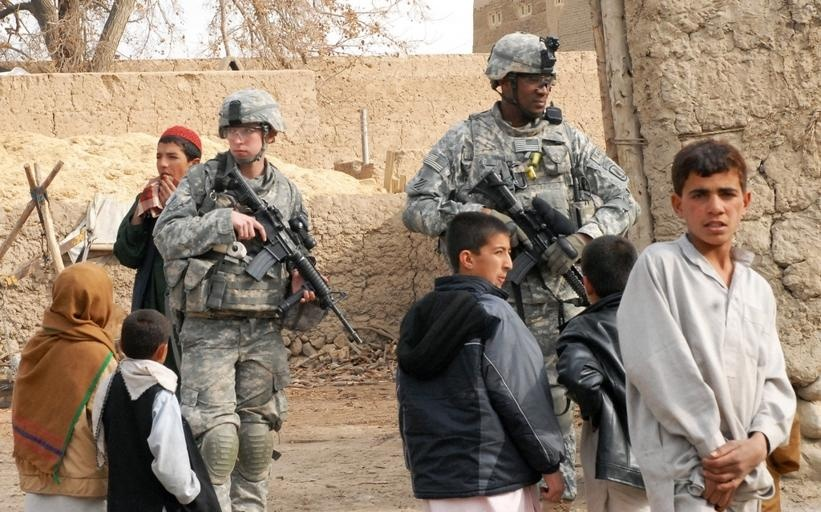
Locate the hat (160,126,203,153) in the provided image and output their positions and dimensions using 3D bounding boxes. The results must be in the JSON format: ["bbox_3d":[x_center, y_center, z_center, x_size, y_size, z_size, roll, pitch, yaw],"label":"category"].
[{"bbox_3d":[-1.860,-0.989,8.257,0.282,0.144,0.296,7,-2,44],"label":"hat"}]

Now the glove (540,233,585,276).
[{"bbox_3d":[1.126,-0.025,7.548,0.208,0.356,0.154,40,34,-3],"label":"glove"}]

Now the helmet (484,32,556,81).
[{"bbox_3d":[0.885,-1.510,7.712,0.451,0.352,0.371,24,23,36],"label":"helmet"}]

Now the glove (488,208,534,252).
[{"bbox_3d":[0.709,-0.187,7.164,0.396,0.100,0.150,38,-29,-21],"label":"glove"}]

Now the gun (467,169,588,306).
[{"bbox_3d":[0.943,-0.027,7.621,0.174,0.706,1.419,2,-34,49],"label":"gun"}]
